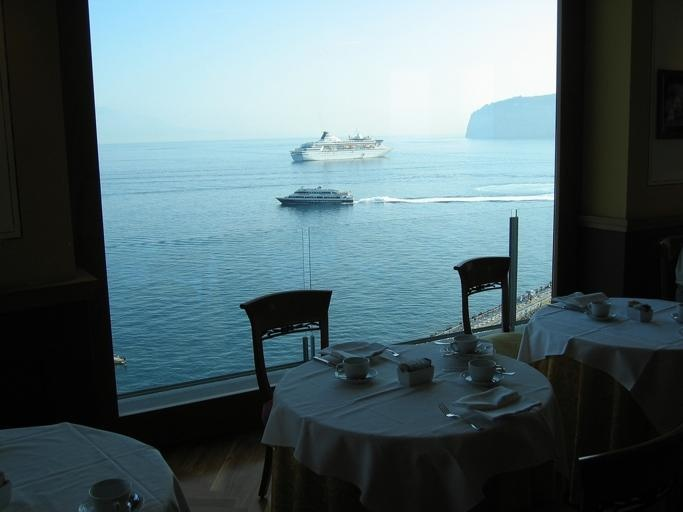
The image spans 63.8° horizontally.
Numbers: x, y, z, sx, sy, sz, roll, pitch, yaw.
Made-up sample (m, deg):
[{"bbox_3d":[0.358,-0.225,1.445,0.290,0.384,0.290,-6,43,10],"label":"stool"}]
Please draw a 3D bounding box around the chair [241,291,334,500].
[{"bbox_3d":[-0.140,0.639,2.453,0.539,0.900,0.517,-6,1,-3],"label":"chair"}]

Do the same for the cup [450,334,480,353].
[{"bbox_3d":[0.521,0.349,2.252,0.084,0.057,0.071,-12,13,11],"label":"cup"}]

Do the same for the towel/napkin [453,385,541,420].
[{"bbox_3d":[0.500,0.499,1.929,0.236,0.038,0.258,-11,2,4],"label":"towel/napkin"}]

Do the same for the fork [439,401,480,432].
[{"bbox_3d":[0.393,0.530,1.826,0.039,0.033,0.221,-42,22,-12],"label":"fork"}]

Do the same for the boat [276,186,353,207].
[{"bbox_3d":[-0.176,-0.427,3.821,0.536,0.163,0.163,3,18,4],"label":"boat"}]

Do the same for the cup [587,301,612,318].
[{"bbox_3d":[1.272,0.249,2.680,0.089,0.063,0.069,3,11,34],"label":"cup"}]

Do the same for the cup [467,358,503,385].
[{"bbox_3d":[0.542,0.415,2.036,0.103,0.070,0.083,-2,13,-1],"label":"cup"}]

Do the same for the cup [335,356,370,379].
[{"bbox_3d":[0.039,0.423,2.117,0.096,0.062,0.075,-1,8,5],"label":"cup"}]
